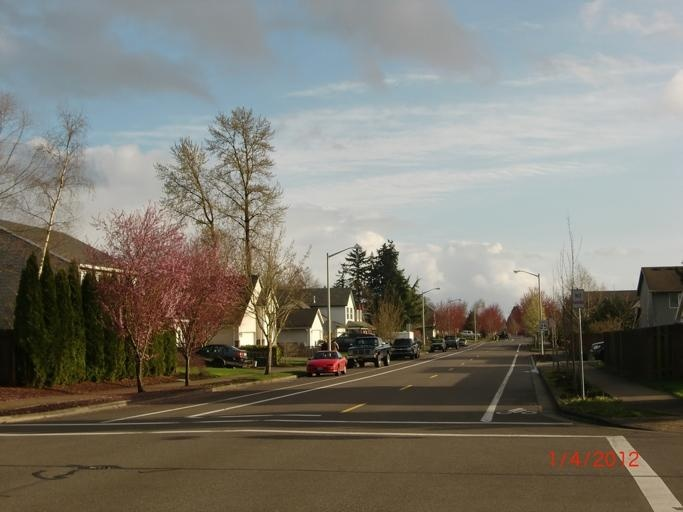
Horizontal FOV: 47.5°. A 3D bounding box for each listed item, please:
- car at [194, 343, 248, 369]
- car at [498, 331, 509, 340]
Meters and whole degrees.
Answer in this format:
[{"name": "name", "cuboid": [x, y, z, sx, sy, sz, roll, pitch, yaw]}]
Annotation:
[{"name": "car", "cuboid": [-7.449, 6.333, 49.339, 2.972, 1.417, 0.897, -3, -7, 15]}, {"name": "car", "cuboid": [30.141, 14.750, 144.049, 1.323, 1.289, 2.385, 0, 0, 22]}]
